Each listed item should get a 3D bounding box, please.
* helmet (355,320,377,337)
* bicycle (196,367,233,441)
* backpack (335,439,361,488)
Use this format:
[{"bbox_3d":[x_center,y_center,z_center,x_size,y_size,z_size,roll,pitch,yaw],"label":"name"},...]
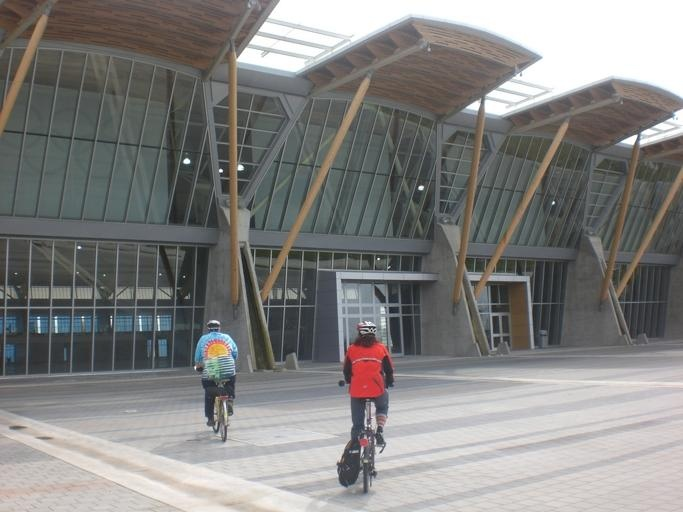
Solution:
[{"bbox_3d":[0.332,1.101,9.912,0.352,0.290,0.285,4,-10,17],"label":"helmet"},{"bbox_3d":[-2.423,2.994,12.705,0.371,1.255,0.916,0,-7,-13],"label":"bicycle"},{"bbox_3d":[0.120,3.053,9.357,0.372,0.720,0.340,-3,-7,12],"label":"backpack"}]
